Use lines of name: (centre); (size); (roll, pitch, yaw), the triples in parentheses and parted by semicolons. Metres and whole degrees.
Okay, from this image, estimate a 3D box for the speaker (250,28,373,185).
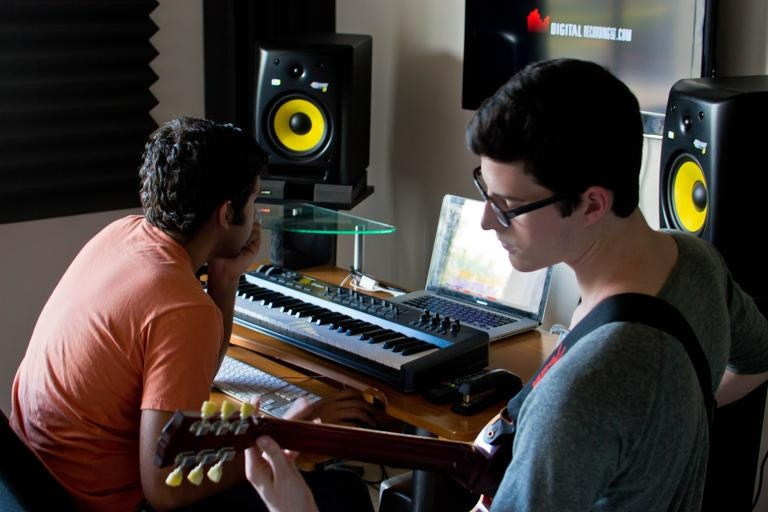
speaker: (-0.287, -0.707, 2.852); (0.490, 0.685, 0.472); (5, 22, 12)
